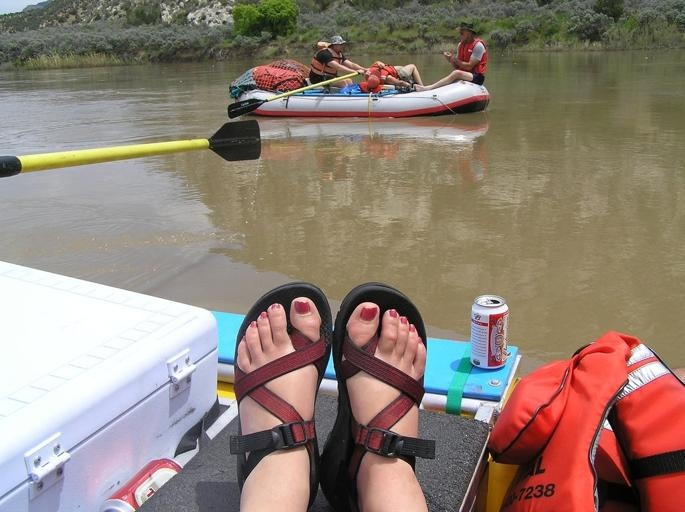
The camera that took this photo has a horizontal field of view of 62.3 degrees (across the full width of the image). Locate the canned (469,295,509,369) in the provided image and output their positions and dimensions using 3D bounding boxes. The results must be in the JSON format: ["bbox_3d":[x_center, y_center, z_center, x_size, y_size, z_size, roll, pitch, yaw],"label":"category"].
[{"bbox_3d":[0.587,0.309,2.303,0.145,0.250,0.147,-4,10,-18],"label":"canned"}]

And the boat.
[{"bbox_3d":[0.288,-3.270,11.961,5.472,0.825,3.194,6,15,23],"label":"boat"}]

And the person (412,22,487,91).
[{"bbox_3d":[2.031,-3.681,10.618,1.479,1.266,0.707,-18,33,-28],"label":"person"}]
